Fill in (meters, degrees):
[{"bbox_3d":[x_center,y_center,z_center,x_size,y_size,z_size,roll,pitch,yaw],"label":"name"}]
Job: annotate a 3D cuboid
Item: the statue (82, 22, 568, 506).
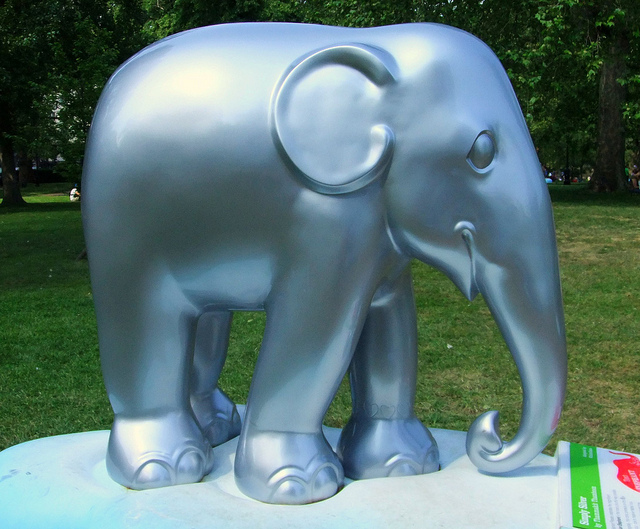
[{"bbox_3d":[-0.032,-0.138,2.459,1.388,1.683,1.001,7,24,7],"label":"statue"}]
